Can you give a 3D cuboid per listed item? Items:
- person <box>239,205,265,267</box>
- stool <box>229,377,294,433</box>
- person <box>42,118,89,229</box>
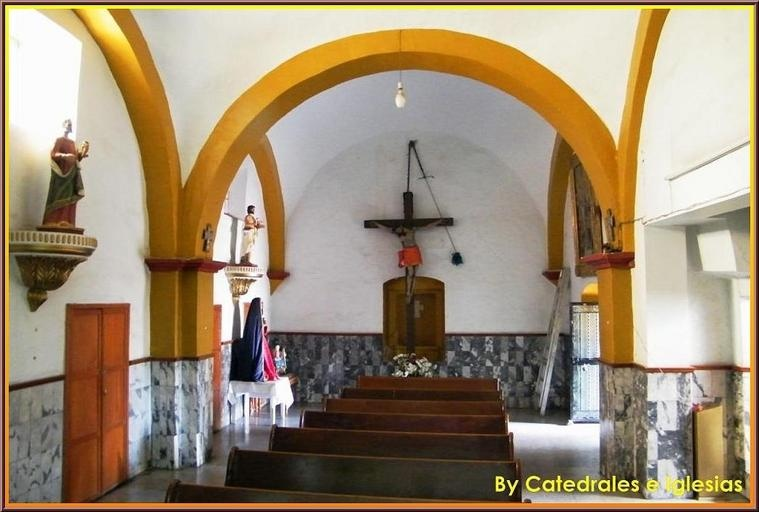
[{"bbox_3d":[-2.467,-0.407,12.452,0.417,1.111,1.222,0,2,-7],"label":"person"},{"bbox_3d":[-2.185,2.701,11.770,0.974,0.706,0.964,0,-10,8],"label":"stool"},{"bbox_3d":[-3.899,-1.029,7.969,0.493,1.381,0.378,0,2,-24],"label":"person"}]
